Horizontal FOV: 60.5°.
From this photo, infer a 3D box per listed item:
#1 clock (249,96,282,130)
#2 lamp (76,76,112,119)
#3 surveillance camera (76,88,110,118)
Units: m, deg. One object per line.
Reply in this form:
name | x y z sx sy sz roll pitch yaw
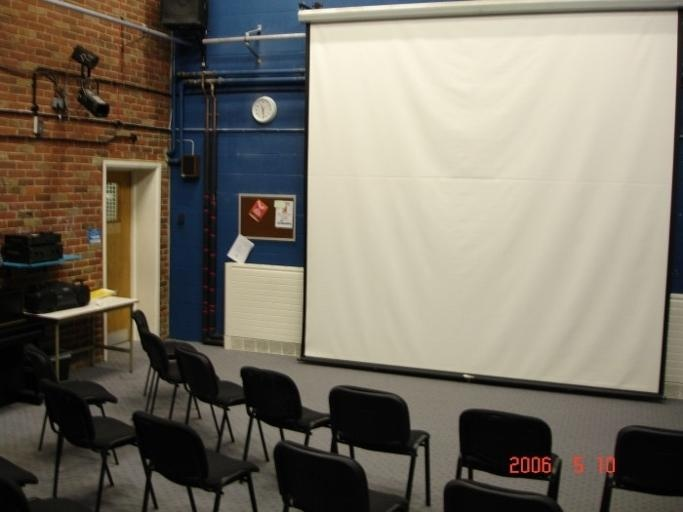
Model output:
clock | -1.015 -1.911 7.630 0.362 0.368 0.118 6 11 27
lamp | -2.909 -1.848 6.761 0.183 0.322 0.587 -22 62 -44
surveillance camera | -2.838 -1.753 6.627 0.217 0.320 0.541 -9 15 -43
